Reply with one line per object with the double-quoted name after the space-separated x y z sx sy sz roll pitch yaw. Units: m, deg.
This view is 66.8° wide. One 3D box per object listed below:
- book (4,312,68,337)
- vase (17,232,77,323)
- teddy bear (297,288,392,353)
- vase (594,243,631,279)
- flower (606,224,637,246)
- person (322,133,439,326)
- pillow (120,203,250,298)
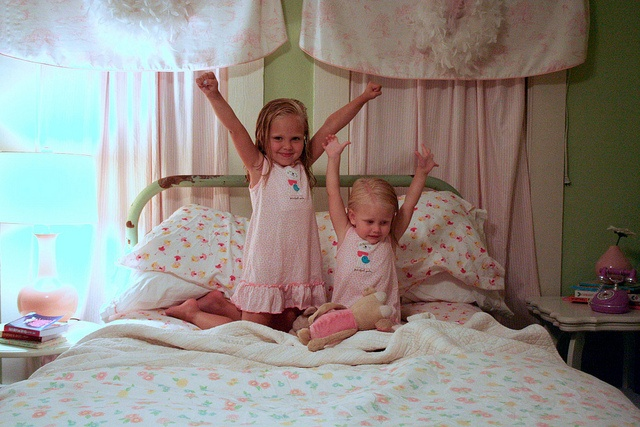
-1.330 0.519 2.259 0.133 0.034 0.131 3 10 19 "book"
-1.407 0.337 2.501 0.303 0.456 0.307 -1 -1 2 "vase"
0.100 0.436 2.013 0.344 0.143 0.205 -20 26 2 "teddy bear"
1.559 0.245 2.608 0.164 0.161 0.165 0 6 -17 "vase"
1.768 0.122 2.859 0.100 0.088 0.018 24 -13 8 "flower"
0.227 0.214 2.336 0.518 1.099 0.259 2 16 -6 "person"
-0.614 0.153 2.525 0.508 0.117 0.529 11 36 7 "pillow"
